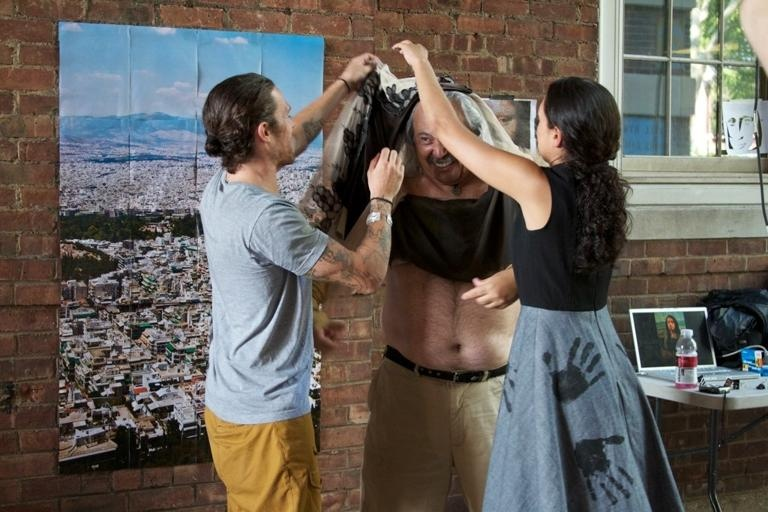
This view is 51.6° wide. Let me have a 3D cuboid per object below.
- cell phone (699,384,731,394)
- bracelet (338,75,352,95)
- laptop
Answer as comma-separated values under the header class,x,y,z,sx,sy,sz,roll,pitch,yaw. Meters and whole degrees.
class,x,y,z,sx,sy,sz,roll,pitch,yaw
cell phone,1.763,0.718,4.283,0.149,0.026,0.138,0,5,34
bracelet,-0.182,-0.832,3.915,0.020,0.067,0.069,-43,41,-14
laptop,1.680,0.461,4.640,0.457,0.302,0.447,0,2,-16
